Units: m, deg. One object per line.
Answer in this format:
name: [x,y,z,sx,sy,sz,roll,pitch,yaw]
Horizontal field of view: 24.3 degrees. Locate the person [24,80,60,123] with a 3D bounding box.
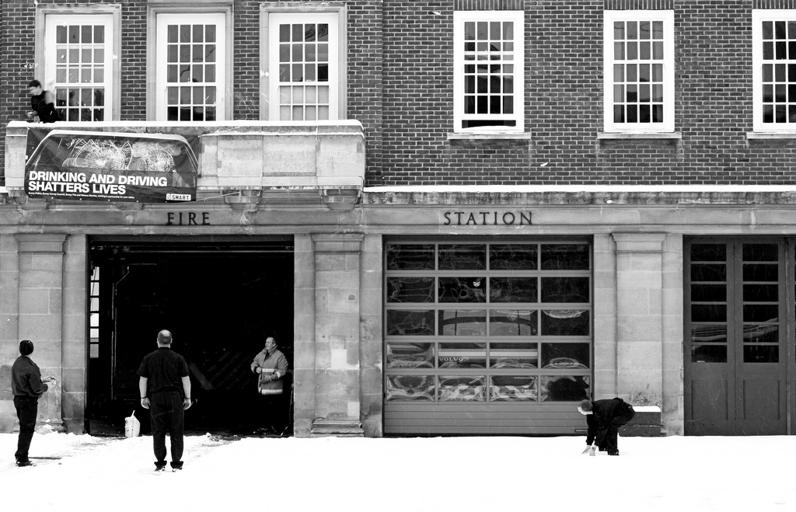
person: [-7.210,-3.097,37.148,0.572,0.902,0.512,-1,-2,-10]

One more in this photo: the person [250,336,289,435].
person: [-2.668,2.631,37.876,0.713,1.957,1.147,-1,-2,-3]

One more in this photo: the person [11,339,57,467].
person: [-6.929,2.712,34.422,0.629,2.303,0.569,-1,-2,-11]

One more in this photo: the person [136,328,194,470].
person: [-4.357,2.623,33.970,0.929,2.535,0.546,-1,-2,-7]

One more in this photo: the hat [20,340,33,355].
hat: [-6.995,1.703,34.479,0.280,0.284,0.321,0,7,-6]

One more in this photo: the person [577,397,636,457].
person: [3.903,3.213,35.084,1.181,0.984,0.569,0,-1,-21]
